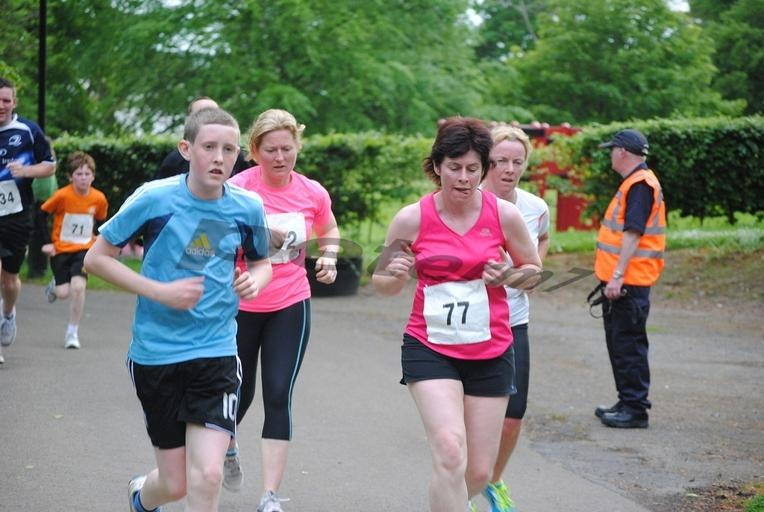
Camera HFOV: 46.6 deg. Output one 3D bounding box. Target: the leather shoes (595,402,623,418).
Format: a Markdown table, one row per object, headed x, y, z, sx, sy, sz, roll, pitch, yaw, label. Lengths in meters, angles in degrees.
| x | y | z | sx | sy | sz | roll | pitch | yaw | label |
| --- | --- | --- | --- | --- | --- | --- | --- | --- | --- |
| 2.277 | 1.550 | 8.922 | 0.325 | 0.130 | 0.113 | -3 | 0 | 9 | leather shoes |

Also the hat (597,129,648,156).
| x | y | z | sx | sy | sz | roll | pitch | yaw | label |
| --- | --- | --- | --- | --- | --- | --- | --- | --- | --- |
| 2.564 | -1.183 | 9.329 | 0.490 | 0.254 | 0.323 | 19 | 17 | 22 | hat |

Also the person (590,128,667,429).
| x | y | z | sx | sy | sz | roll | pitch | yaw | label |
| --- | --- | --- | --- | --- | --- | --- | --- | --- | --- |
| 2.489 | 0.402 | 8.978 | 0.708 | 2.567 | 0.595 | 0 | 1 | 14 | person |

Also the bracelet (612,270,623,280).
| x | y | z | sx | sy | sz | roll | pitch | yaw | label |
| --- | --- | --- | --- | --- | --- | --- | --- | --- | --- |
| 2.391 | 0.190 | 8.972 | 0.098 | 0.099 | 0.035 | 0 | 1 | -4 | bracelet |

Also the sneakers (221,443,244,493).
| x | y | z | sx | sy | sz | roll | pitch | yaw | label |
| --- | --- | --- | --- | --- | --- | --- | --- | --- | --- |
| -1.272 | 1.788 | 7.503 | 0.157 | 0.430 | 0.175 | -8 | 4 | -21 | sneakers |

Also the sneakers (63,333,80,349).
| x | y | z | sx | sy | sz | roll | pitch | yaw | label |
| --- | --- | --- | --- | --- | --- | --- | --- | --- | --- |
| -3.791 | 1.034 | 10.863 | 0.191 | 0.179 | 0.201 | -1 | 1 | -20 | sneakers |

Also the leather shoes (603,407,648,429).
| x | y | z | sx | sy | sz | roll | pitch | yaw | label |
| --- | --- | --- | --- | --- | --- | --- | --- | --- | --- |
| 2.407 | 1.592 | 8.791 | 0.480 | 0.230 | 0.184 | 4 | -5 | 1 | leather shoes |
